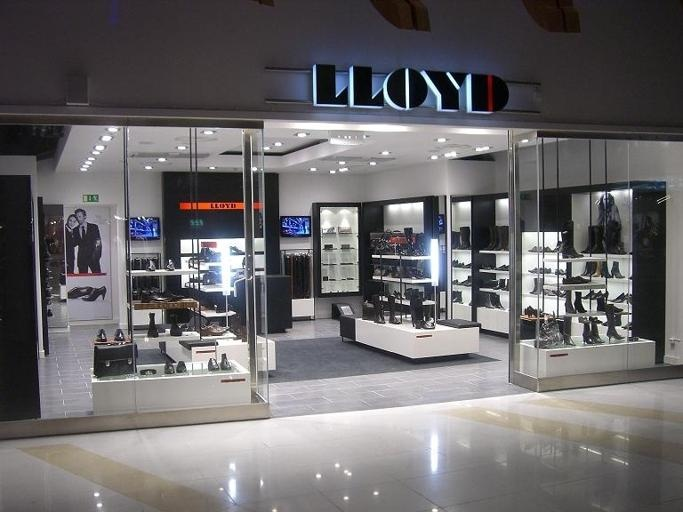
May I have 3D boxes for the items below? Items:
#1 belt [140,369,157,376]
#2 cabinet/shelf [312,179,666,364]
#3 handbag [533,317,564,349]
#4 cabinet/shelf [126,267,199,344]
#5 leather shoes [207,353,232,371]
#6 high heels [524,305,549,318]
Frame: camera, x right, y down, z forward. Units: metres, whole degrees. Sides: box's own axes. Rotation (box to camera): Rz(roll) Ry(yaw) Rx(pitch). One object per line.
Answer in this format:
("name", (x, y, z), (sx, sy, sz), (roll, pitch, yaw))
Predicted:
("belt", (-2.063, 1.237, 5.659), (0.132, 0.067, 0.027), (2, 2, -13))
("cabinet/shelf", (2.539, 0.381, 8.119), (3.262, 2.067, 3.304), (1, -3, -27))
("handbag", (2.615, 0.959, 6.706), (0.394, 0.383, 0.144), (0, 1, -14))
("cabinet/shelf", (-1.943, 0.533, 5.796), (0.829, 0.796, 0.311), (1, -5, -23))
("leather shoes", (-1.349, 1.159, 5.813), (0.198, 0.174, 0.071), (1, 2, -19))
("high heels", (2.483, 0.716, 6.706), (0.105, 0.127, 0.315), (-1, -3, -37))
